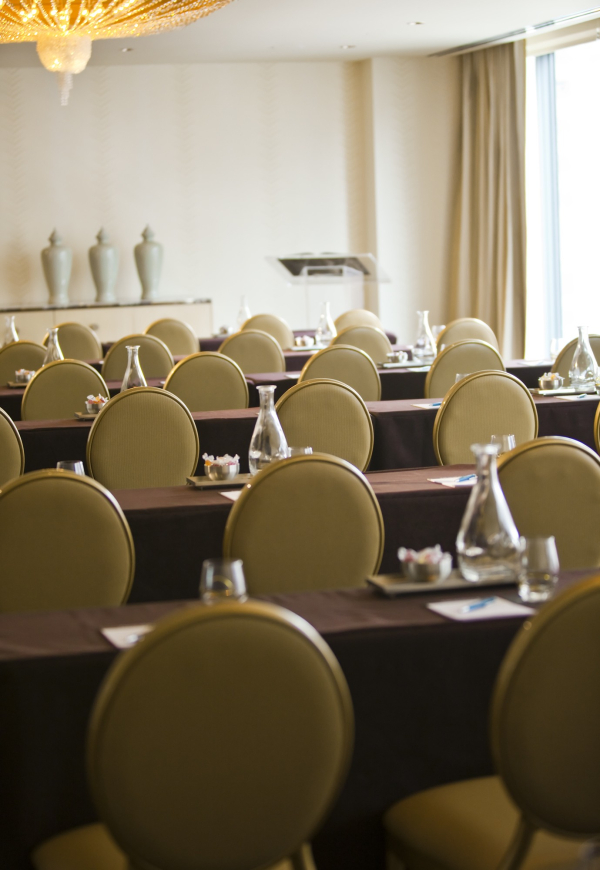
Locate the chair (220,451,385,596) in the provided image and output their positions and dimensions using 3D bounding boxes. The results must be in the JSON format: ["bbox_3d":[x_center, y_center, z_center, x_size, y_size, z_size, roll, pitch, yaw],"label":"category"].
[{"bbox_3d":[-0.015,0.205,1.948,0.331,0.522,0.384,0,11,-9],"label":"chair"}]

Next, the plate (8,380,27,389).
[{"bbox_3d":[-2.262,-0.396,5.375,0.095,0.035,0.095,2,6,-14],"label":"plate"}]

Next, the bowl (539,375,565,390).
[{"bbox_3d":[1.759,-0.369,4.715,0.136,0.074,0.114,0,1,-43],"label":"bowl"}]

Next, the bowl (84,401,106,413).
[{"bbox_3d":[-1.258,-0.177,4.132,0.118,0.087,0.110,0,-5,0],"label":"bowl"}]

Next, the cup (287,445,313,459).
[{"bbox_3d":[0.000,0.055,2.308,0.049,0.040,0.051,1,1,0],"label":"cup"}]

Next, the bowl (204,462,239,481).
[{"bbox_3d":[-0.319,0.138,2.665,0.086,0.051,0.080,1,0,0],"label":"bowl"}]

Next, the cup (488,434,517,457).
[{"bbox_3d":[0.556,0.029,1.841,0.056,0.055,0.057,-1,4,0],"label":"cup"}]

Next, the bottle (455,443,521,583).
[{"bbox_3d":[0.378,0.165,1.349,0.117,0.307,0.098,0,11,13],"label":"bottle"}]

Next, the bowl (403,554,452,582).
[{"bbox_3d":[0.272,0.278,1.431,0.068,0.038,0.065,0,0,0],"label":"bowl"}]
